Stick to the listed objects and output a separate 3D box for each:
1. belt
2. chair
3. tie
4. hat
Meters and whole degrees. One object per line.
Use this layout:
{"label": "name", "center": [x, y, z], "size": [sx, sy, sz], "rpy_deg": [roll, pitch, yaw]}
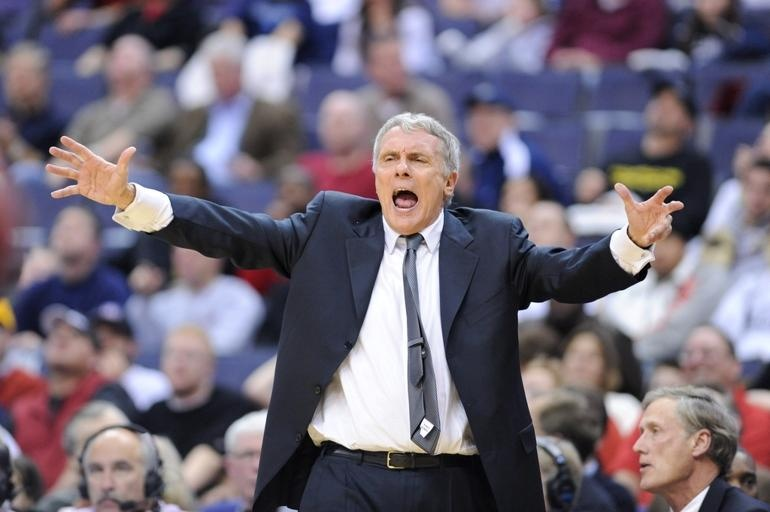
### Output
{"label": "belt", "center": [0.105, 1.362, 9.886], "size": [1.051, 0.198, 0.160], "rpy_deg": [-3, 32, 8]}
{"label": "chair", "center": [0.199, -0.480, 13.091], "size": [2.576, 3.317, 2.273], "rpy_deg": [0, 16, 2]}
{"label": "tie", "center": [0.242, 0.640, 9.929], "size": [0.225, 1.283, 0.243], "rpy_deg": [0, -1, 1]}
{"label": "hat", "center": [-2.639, 0.550, 12.948], "size": [0.497, 0.169, 0.505], "rpy_deg": [15, 4, 7]}
